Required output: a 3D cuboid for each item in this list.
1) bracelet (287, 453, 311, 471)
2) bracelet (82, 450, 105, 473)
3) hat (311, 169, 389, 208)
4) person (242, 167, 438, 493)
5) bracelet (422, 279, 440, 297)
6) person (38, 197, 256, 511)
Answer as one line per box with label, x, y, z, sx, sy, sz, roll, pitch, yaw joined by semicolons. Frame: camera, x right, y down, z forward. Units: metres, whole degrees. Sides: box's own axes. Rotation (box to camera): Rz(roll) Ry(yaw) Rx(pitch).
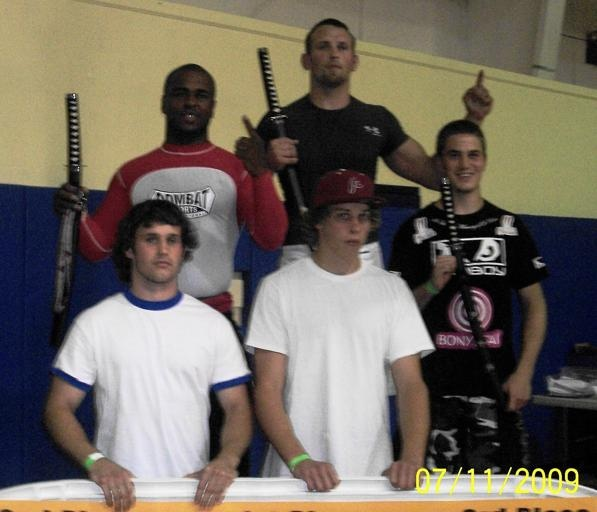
bracelet;0.004;0.635;2.484;0.059;0.047;0.076;-4;3;-17
bracelet;-0.620;0.613;2.422;0.048;0.047;0.049;1;5;-11
hat;0.173;-0.244;2.976;0.240;0.157;0.309;-5;11;-29
person;0.155;0.223;2.668;0.613;1.018;0.641;-4;4;-17
bracelet;0.528;0.134;3.235;0.043;0.057;0.057;-39;37;-2
person;-0.451;0.267;2.565;0.621;0.884;0.687;-5;4;-32
